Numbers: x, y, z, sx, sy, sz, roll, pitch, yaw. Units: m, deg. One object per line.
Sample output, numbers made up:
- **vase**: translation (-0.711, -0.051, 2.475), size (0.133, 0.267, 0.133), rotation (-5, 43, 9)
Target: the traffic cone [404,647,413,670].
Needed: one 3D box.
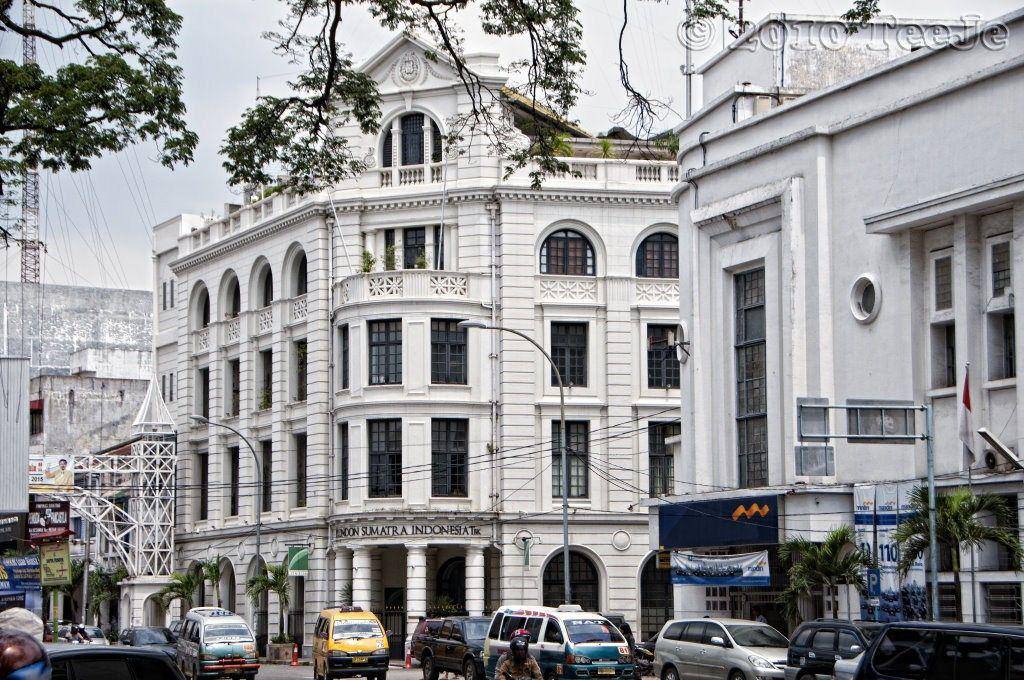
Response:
- **traffic cone**: translation (-4.510, 13.870, 98.042), size (0.447, 0.846, 0.474), rotation (-1, 0, -17)

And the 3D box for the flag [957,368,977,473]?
- **flag**: translation (15.830, 2.781, 79.435), size (0.502, 3.616, 0.628), rotation (-3, -13, 11)
